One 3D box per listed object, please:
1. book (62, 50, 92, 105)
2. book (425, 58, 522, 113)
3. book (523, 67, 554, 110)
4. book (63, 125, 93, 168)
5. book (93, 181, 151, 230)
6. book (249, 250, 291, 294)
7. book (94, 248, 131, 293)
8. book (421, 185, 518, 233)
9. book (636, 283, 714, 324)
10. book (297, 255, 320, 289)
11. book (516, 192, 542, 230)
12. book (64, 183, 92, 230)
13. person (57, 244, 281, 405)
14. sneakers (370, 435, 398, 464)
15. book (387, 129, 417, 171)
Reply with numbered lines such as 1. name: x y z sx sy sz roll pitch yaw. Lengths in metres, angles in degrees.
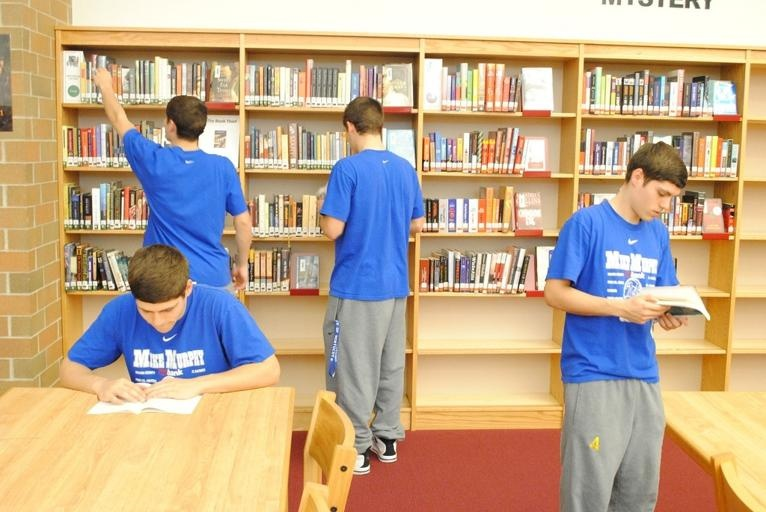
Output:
1. book: -2.204 -1.281 4.962 0.184 0.359 0.077 1 15 2
2. book: 0.672 -1.253 5.089 0.720 0.365 0.155 1 15 1
3. book: 1.117 -1.220 5.202 0.250 0.319 0.242 -2 0 -6
4. book: -2.215 -0.796 5.005 0.251 0.348 0.248 0 3 -5
5. book: -1.923 -0.355 5.218 0.329 0.440 0.445 0 5 -2
6. book: -0.844 0.109 5.313 0.290 0.378 0.395 1 -3 -3
7. book: -1.935 0.114 4.938 0.218 0.282 0.290 -1 3 -1
8. book: 0.648 -0.358 5.224 0.682 0.329 0.199 -2 15 -10
9. book: 1.443 0.248 3.324 0.375 0.099 0.392 20 -13 -13
10. book: -0.554 0.114 5.145 0.175 0.246 0.127 -4 15 -17
11. book: 1.109 -0.329 5.274 0.220 0.286 0.168 -2 2 -2
12. book: -2.175 -0.360 5.179 0.262 0.349 0.354 2 3 -6
13. person: -1.157 0.343 3.707 0.864 1.070 0.574 -2 31 -5
14. sneakers: 0.026 1.340 4.810 0.104 0.102 0.241 0 6 -6
15. book: 0.133 -0.779 5.077 0.287 0.264 0.066 1 0 -6
